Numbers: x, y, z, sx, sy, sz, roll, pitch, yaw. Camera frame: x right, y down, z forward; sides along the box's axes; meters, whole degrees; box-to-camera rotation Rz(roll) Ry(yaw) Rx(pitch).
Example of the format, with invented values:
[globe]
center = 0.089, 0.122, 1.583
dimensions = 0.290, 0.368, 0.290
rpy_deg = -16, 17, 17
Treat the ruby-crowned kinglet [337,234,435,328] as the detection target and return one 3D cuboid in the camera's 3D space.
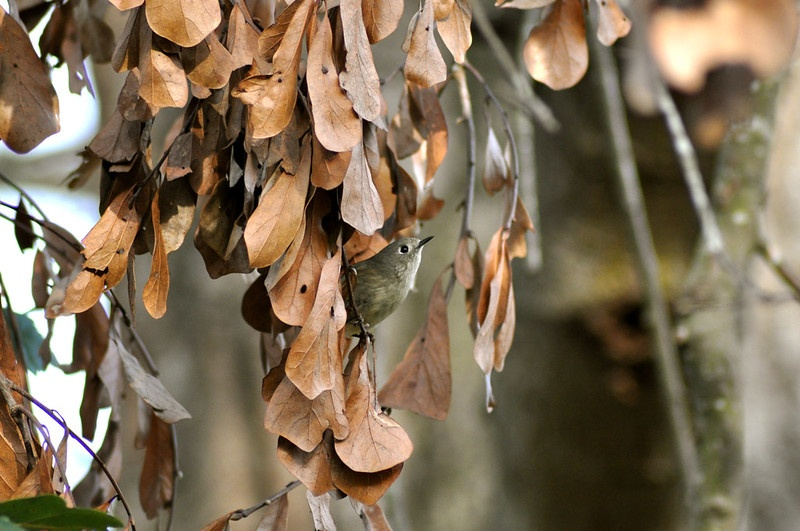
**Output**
[ruby-crowned kinglet]
center = -0.027, 0.040, 2.689
dimensions = 0.223, 0.148, 0.079
rpy_deg = -25, -25, 15
